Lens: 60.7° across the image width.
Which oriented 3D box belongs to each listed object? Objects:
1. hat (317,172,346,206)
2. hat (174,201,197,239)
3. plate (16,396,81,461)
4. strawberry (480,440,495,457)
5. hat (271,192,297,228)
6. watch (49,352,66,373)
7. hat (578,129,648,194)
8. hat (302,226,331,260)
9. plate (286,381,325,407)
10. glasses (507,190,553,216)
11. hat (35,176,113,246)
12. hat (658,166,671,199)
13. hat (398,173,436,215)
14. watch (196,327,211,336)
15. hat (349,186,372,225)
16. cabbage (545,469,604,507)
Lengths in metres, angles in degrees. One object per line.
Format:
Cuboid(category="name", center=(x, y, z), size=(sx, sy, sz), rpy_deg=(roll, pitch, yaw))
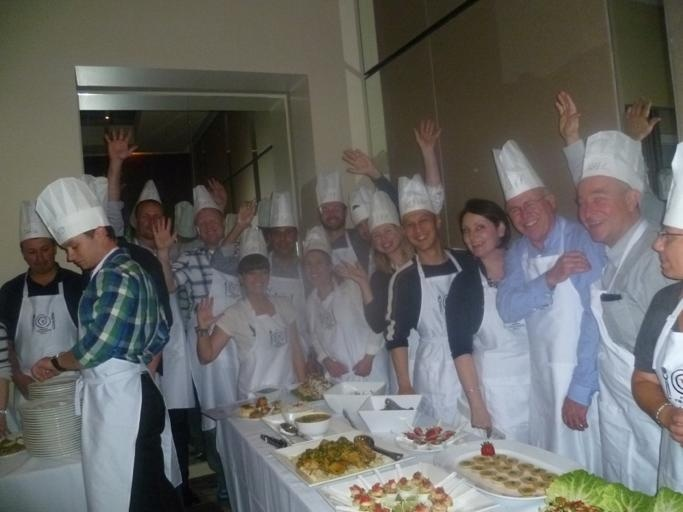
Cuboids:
Cuboid(category="hat", center=(-0.084, -0.470, 3.984), size=(0.209, 0.241, 0.217), rpy_deg=(-4, -2, -34))
Cuboid(category="hat", center=(-1.043, -0.234, 3.865), size=(0.163, 0.230, 0.069), rpy_deg=(-9, 0, -19))
Cuboid(category="plate", center=(-1.307, 0.756, 2.663), size=(0.243, 0.221, 0.247), rpy_deg=(-1, 1, 36))
Cuboid(category="strawberry", center=(0.543, 0.717, 2.173), size=(0.031, 0.032, 0.046), rpy_deg=(-14, 14, -3))
Cuboid(category="hat", center=(-0.400, -0.306, 4.054), size=(0.179, 0.261, 0.196), rpy_deg=(-2, -6, 7))
Cuboid(category="watch", center=(-1.328, 0.493, 2.732), size=(0.056, 0.086, 0.086), rpy_deg=(-22, 33, -25))
Cuboid(category="hat", center=(1.089, -0.385, 2.340), size=(0.205, 0.191, 0.247), rpy_deg=(10, -13, 35))
Cuboid(category="hat", center=(-0.150, -0.066, 3.887), size=(0.177, 0.200, 0.172), rpy_deg=(-14, -18, 19))
Cuboid(category="plate", center=(-0.179, 0.722, 3.085), size=(0.139, 0.050, 0.118), rpy_deg=(-13, 10, -42))
Cuboid(category="glasses", center=(0.849, -0.237, 2.611), size=(0.106, 0.071, 0.131), rpy_deg=(-19, -22, 30))
Cuboid(category="hat", center=(-1.306, -0.173, 2.920), size=(0.313, 0.279, 0.332), rpy_deg=(-28, -17, -27))
Cuboid(category="hat", center=(1.239, -0.281, 2.242), size=(0.027, 0.117, 0.068), rpy_deg=(-5, 1, -7))
Cuboid(category="hat", center=(0.384, -0.322, 3.159), size=(0.205, 0.222, 0.181), rpy_deg=(-13, -1, 5))
Cuboid(category="watch", center=(-0.846, 0.455, 3.534), size=(0.070, 0.037, 0.094), rpy_deg=(-2, -8, -6))
Cuboid(category="hat", center=(0.114, -0.325, 3.658), size=(0.147, 0.227, 0.153), rpy_deg=(-1, -8, -5))
Cuboid(category="cabbage", center=(0.632, 0.636, 1.580), size=(0.102, 0.041, 0.111), rpy_deg=(-18, 38, 5))
